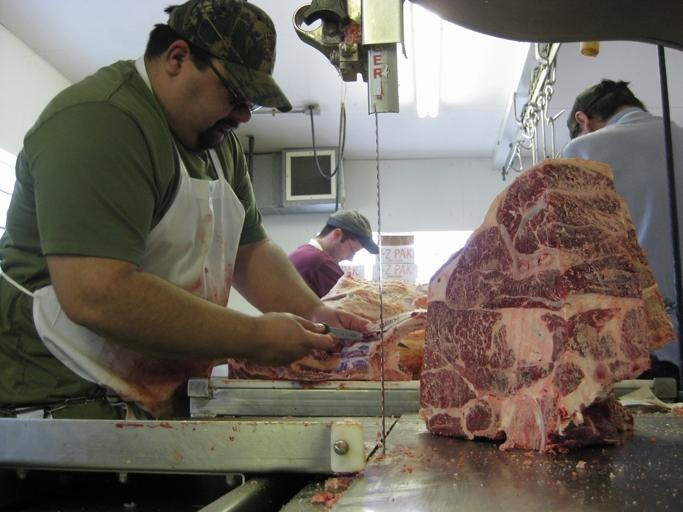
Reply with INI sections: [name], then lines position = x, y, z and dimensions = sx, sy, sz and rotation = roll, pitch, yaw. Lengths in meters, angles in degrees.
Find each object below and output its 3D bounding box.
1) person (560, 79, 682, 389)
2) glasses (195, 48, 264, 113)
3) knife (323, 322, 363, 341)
[person]
position = 1.547, -0.220, 3.104
dimensions = 0.632, 1.650, 0.924
rotation = 1, 1, 22
[glasses]
position = -0.371, -0.590, 1.910
dimensions = 0.053, 0.197, 0.151
rotation = -30, -12, -37
[knife]
position = 0.023, 0.319, 2.360
dimensions = 0.041, 0.060, 0.323
rotation = -15, -22, 36
